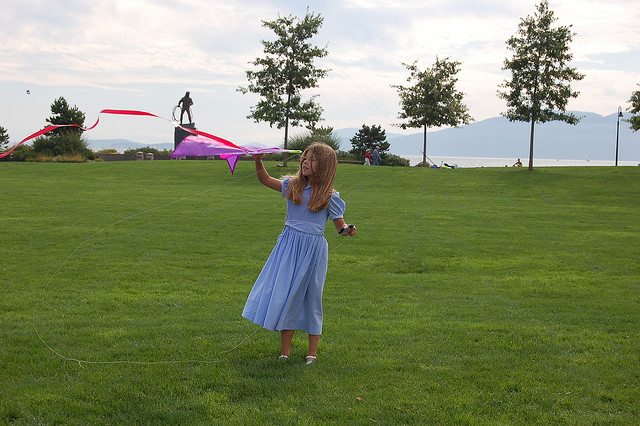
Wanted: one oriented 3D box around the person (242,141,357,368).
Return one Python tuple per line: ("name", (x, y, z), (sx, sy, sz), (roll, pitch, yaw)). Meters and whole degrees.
("person", (-0.361, 0.669, 11.192), (1.590, 3.602, 0.920), (0, 12, -8))
